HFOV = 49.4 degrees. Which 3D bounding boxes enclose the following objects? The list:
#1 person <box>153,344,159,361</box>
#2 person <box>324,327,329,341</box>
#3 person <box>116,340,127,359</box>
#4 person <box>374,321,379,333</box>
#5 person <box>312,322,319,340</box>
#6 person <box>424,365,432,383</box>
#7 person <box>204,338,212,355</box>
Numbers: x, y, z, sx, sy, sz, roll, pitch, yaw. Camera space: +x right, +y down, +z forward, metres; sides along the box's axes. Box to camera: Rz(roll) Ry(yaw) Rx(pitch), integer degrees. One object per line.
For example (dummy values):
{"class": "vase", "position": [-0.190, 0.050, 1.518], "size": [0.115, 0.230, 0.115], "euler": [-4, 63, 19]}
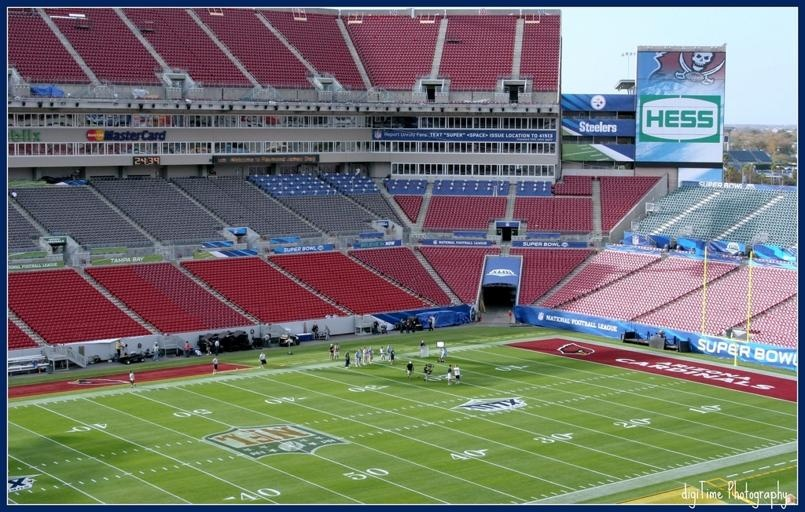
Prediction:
{"class": "person", "position": [-13.456, 5.196, 48.046], "size": [0.360, 0.890, 0.829], "euler": [-4, 14, -13]}
{"class": "person", "position": [-4.498, 4.603, 52.773], "size": [0.308, 0.682, 0.711], "euler": [-2, 14, -6]}
{"class": "person", "position": [-15.099, 5.007, 47.516], "size": [0.444, 0.917, 0.658], "euler": [6, 16, 21]}
{"class": "person", "position": [-1.545, 4.322, 53.820], "size": [0.411, 0.699, 0.229], "euler": [-11, 19, -33]}
{"class": "person", "position": [-5.176, 4.481, 52.373], "size": [0.364, 0.964, 0.443], "euler": [-2, 16, -5]}
{"class": "person", "position": [1.251, 5.886, 43.554], "size": [0.459, 0.872, 0.367], "euler": [-8, 45, -5]}
{"class": "person", "position": [-10.833, 5.072, 49.187], "size": [0.382, 0.732, 0.502], "euler": [-3, 15, -11]}
